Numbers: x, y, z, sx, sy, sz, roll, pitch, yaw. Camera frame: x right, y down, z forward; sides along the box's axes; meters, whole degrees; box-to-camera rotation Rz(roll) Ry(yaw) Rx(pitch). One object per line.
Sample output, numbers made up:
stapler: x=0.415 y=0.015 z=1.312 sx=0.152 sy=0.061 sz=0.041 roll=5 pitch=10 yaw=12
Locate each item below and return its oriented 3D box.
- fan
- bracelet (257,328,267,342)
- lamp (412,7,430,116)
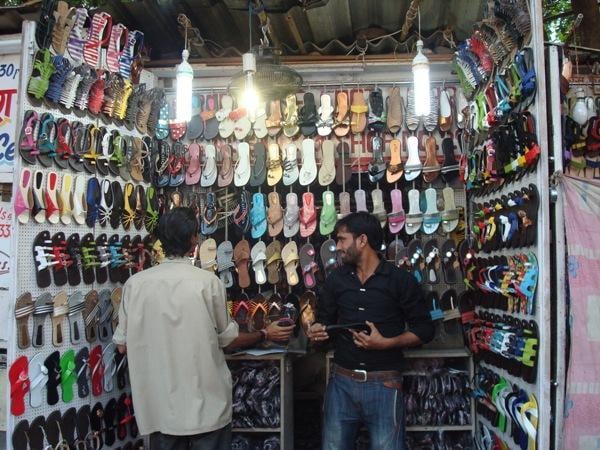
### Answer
fan: x=-0.289 y=-1.171 z=4.673 sx=0.594 sy=0.854 sz=0.686 roll=-2 pitch=-4 yaw=-8
bracelet: x=-0.268 y=0.794 z=4.242 sx=0.050 sy=0.087 sz=0.084 roll=-2 pitch=37 yaw=7
lamp: x=0.870 y=-1.106 z=4.281 sx=0.112 sy=0.589 sz=0.269 roll=-2 pitch=-1 yaw=11
